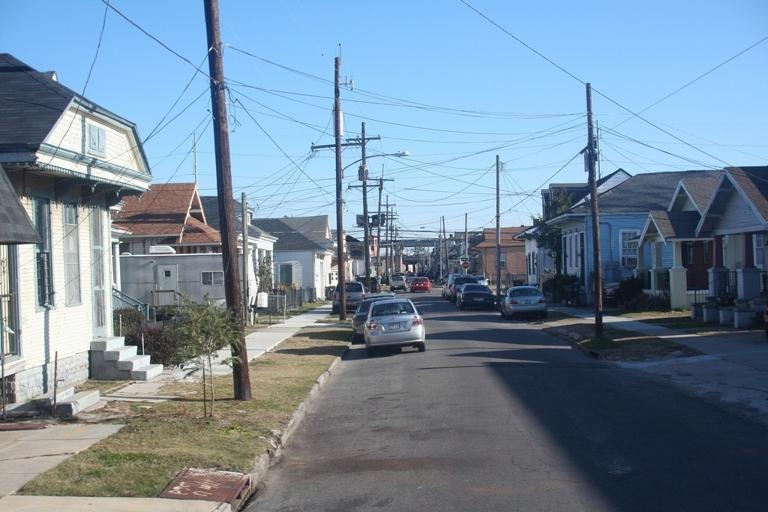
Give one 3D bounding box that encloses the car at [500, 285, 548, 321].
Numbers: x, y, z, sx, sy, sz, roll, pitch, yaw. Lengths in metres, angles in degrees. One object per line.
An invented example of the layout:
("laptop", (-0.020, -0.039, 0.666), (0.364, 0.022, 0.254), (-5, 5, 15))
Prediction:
("car", (6.539, 2.288, 37.447), (1.410, 1.021, 3.224), (-1, 2, 3))
